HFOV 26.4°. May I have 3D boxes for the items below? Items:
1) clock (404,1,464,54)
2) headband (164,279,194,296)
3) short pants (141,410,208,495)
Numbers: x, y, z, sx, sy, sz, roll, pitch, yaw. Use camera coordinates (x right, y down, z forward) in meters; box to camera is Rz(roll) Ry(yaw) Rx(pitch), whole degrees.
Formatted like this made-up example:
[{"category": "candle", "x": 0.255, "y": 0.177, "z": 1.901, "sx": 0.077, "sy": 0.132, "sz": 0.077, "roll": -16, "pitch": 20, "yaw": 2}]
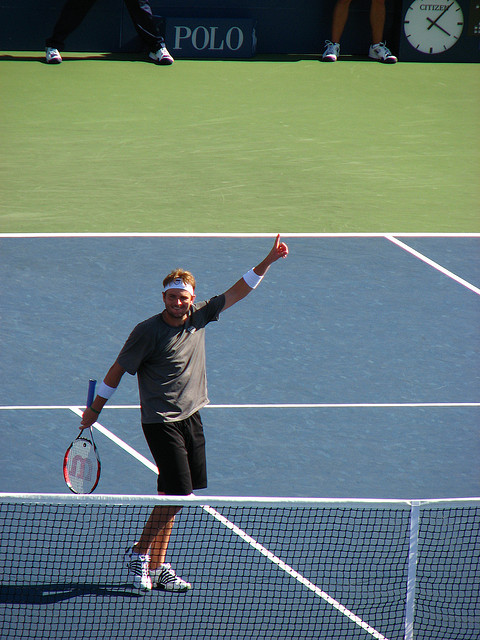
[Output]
[{"category": "clock", "x": 3.596, "y": -5.493, "z": 19.001, "sx": 1.084, "sy": 0.923, "sz": 0.052, "roll": -1, "pitch": 43, "yaw": 6}, {"category": "headband", "x": -0.357, "y": -0.203, "z": 6.172, "sx": 0.123, "sy": 0.064, "sz": 0.108, "roll": 0, "pitch": 10, "yaw": -5}, {"category": "short pants", "x": -0.354, "y": 0.831, "z": 6.118, "sx": 0.378, "sy": 0.480, "sz": 0.439, "roll": -7, "pitch": 30, "yaw": -19}]
